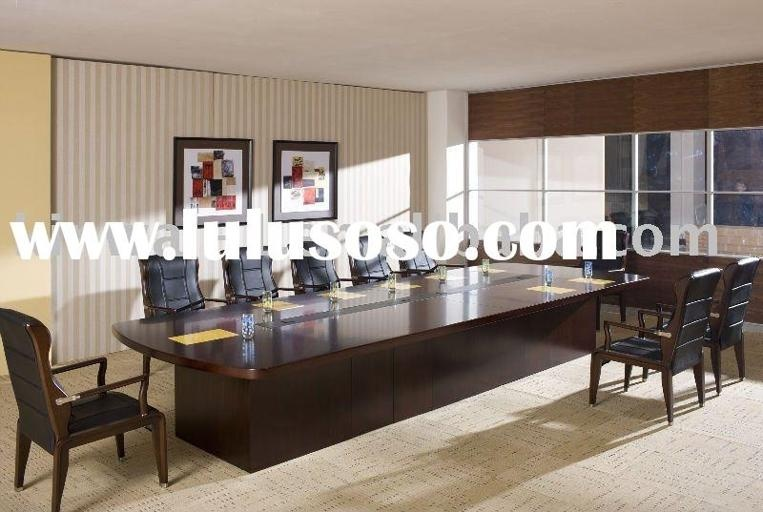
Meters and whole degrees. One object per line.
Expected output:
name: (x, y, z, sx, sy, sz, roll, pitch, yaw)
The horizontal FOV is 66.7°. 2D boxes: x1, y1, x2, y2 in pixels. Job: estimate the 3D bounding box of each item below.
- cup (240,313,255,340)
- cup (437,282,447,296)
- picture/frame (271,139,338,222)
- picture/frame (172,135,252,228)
cup: (-1.084, 0.557, 4.680, 0.111, 0.165, 0.296, -3, 12, -14)
cup: (0.651, 0.358, 6.330, 0.112, 0.202, 0.110, 2, -3, 0)
picture/frame: (-1.199, -1.130, 8.590, 1.294, 1.361, 0.092, -2, 3, -43)
picture/frame: (-2.320, -1.000, 7.724, 1.274, 1.347, 0.103, -3, 6, -36)
